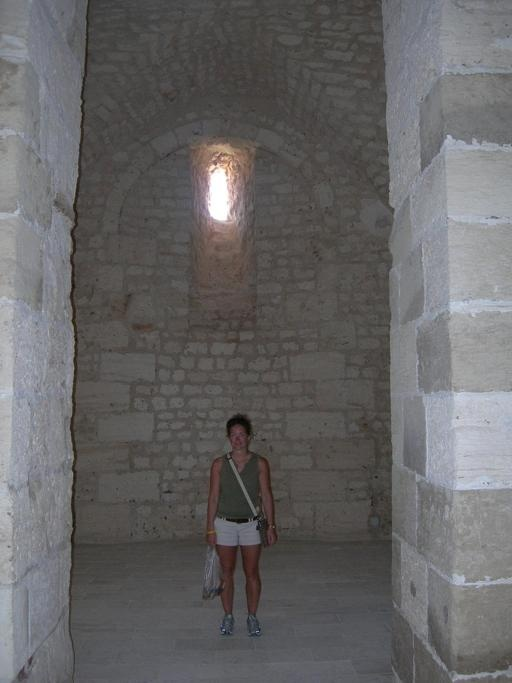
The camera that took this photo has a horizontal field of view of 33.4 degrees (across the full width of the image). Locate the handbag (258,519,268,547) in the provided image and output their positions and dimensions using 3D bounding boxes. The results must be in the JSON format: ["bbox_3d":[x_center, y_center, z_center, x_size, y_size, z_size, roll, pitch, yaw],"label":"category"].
[{"bbox_3d":[0.031,0.864,3.875,0.041,0.132,0.112,-2,-9,11],"label":"handbag"}]

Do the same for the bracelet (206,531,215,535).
[{"bbox_3d":[-0.199,0.867,3.883,0.035,0.019,0.019,0,-1,-16],"label":"bracelet"}]

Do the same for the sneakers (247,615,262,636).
[{"bbox_3d":[-0.008,1.317,3.956,0.056,0.056,0.131,1,-21,-1],"label":"sneakers"}]

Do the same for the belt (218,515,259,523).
[{"bbox_3d":[-0.073,0.808,3.865,0.162,0.027,0.021,0,-1,0],"label":"belt"}]

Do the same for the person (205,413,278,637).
[{"bbox_3d":[-0.067,0.852,3.969,0.306,1.018,0.232,0,0,-1],"label":"person"}]
